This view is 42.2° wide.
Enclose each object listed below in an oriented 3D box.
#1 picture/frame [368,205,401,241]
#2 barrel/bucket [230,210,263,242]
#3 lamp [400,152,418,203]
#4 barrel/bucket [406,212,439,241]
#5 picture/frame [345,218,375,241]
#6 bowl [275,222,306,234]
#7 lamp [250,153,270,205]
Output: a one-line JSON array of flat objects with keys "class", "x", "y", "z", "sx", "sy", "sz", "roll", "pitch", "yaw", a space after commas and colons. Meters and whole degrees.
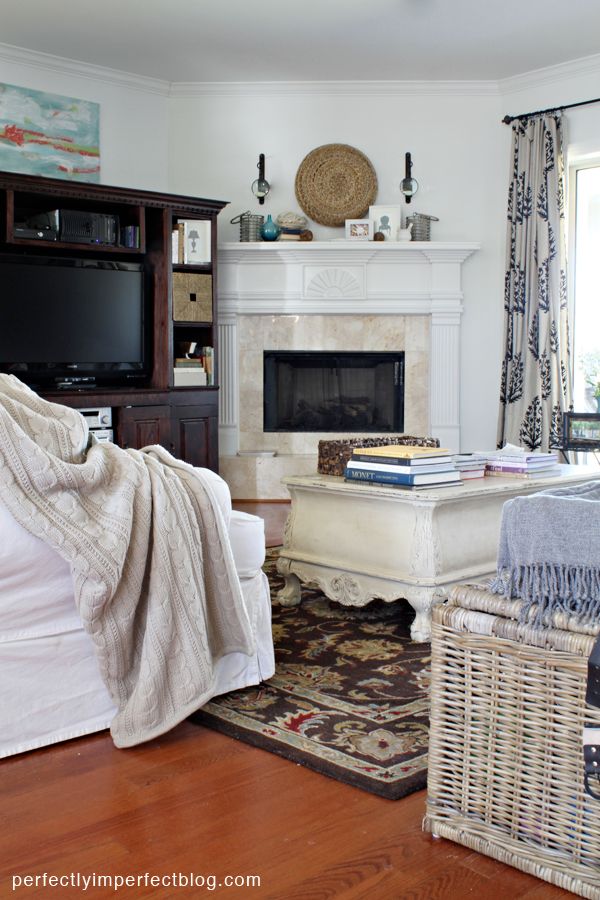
[{"class": "picture/frame", "x": 0.580, "y": -1.579, "z": 5.421, "sx": 0.270, "sy": 0.314, "sz": 0.030, "roll": -1, "pitch": 2, "yaw": -9}, {"class": "barrel/bucket", "x": -0.380, "y": -1.552, "z": 5.435, "sx": 0.176, "sy": 0.255, "sz": 0.261, "roll": -6, "pitch": 8, "yaw": -43}, {"class": "lamp", "x": 0.761, "y": -1.923, "z": 5.486, "sx": 0.115, "sy": 0.350, "sz": 0.139, "roll": 0, "pitch": 2, "yaw": 9}, {"class": "barrel/bucket", "x": 0.827, "y": -1.556, "z": 5.414, "sx": 0.183, "sy": 0.219, "sz": 0.252, "roll": 1, "pitch": 2, "yaw": 27}, {"class": "picture/frame", "x": 0.406, "y": -1.519, "z": 5.369, "sx": 0.198, "sy": 0.173, "sz": 0.015, "roll": 0, "pitch": -1, "yaw": -5}, {"class": "bowl", "x": -0.070, "y": -1.547, "z": 5.447, "sx": 0.172, "sy": 0.060, "sz": 0.107, "roll": 0, "pitch": 2, "yaw": 15}, {"class": "lamp", "x": -0.278, "y": -1.926, "z": 5.479, "sx": 0.125, "sy": 0.361, "sz": 0.157, "roll": -1, "pitch": 2, "yaw": -3}]
